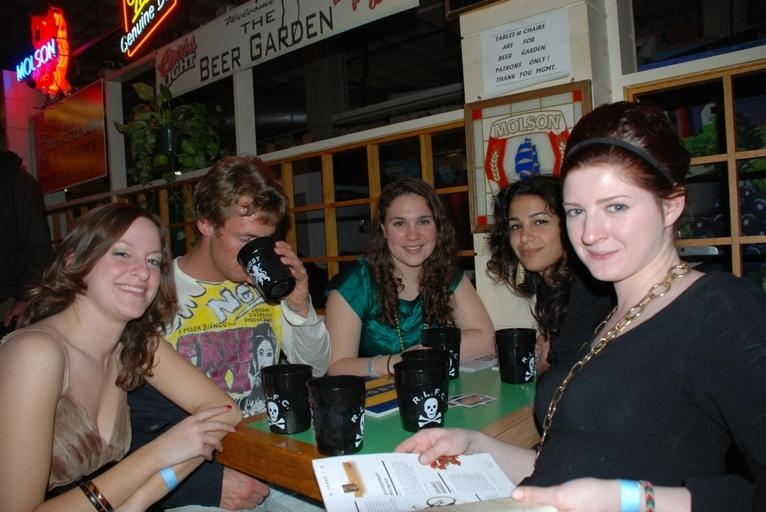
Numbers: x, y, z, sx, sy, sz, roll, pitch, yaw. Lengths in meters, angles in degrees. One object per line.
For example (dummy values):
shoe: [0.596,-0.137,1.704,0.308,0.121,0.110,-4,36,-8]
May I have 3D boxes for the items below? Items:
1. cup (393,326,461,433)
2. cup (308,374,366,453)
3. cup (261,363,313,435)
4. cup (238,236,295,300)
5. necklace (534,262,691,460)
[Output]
cup: [0.155,0.435,1.997,0.209,0.282,0.326,1,-5,3]
cup: [-0.144,0.502,1.840,0.219,0.227,0.219,-2,-2,0]
cup: [-0.292,0.488,1.919,0.214,0.216,0.211,-1,-5,0]
cup: [-0.497,0.044,2.319,0.176,0.193,0.189,-31,-32,-22]
necklace: [0.726,0.332,1.698,0.060,0.743,0.108,31,8,36]
